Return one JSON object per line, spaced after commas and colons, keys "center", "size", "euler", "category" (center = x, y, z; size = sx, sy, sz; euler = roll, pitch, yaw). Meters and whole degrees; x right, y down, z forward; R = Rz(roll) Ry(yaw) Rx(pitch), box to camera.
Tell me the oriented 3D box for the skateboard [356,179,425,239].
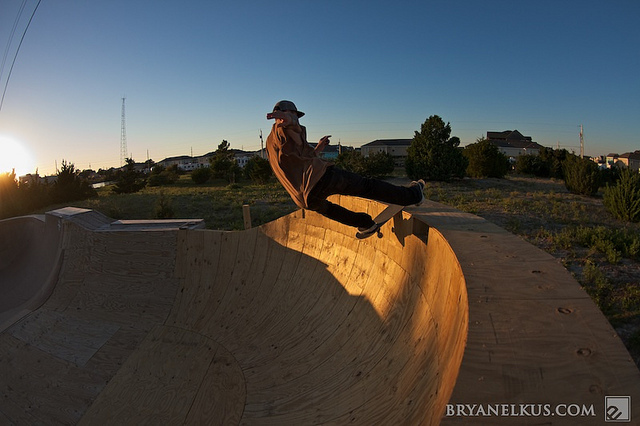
{"center": [1.125, -0.033, 5.699], "size": [0.158, 1.080, 0.258], "euler": [35, 3, -41], "category": "skateboard"}
